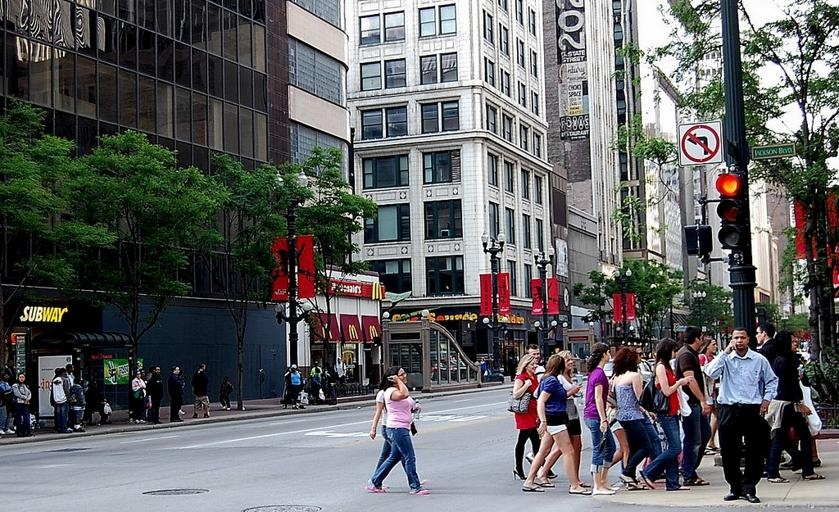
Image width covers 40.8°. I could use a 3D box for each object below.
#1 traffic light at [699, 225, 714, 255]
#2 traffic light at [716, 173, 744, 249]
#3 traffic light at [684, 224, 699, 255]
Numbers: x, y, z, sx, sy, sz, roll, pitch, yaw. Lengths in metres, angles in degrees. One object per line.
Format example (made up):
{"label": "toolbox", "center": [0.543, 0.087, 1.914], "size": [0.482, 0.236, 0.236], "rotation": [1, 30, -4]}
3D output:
{"label": "traffic light", "center": [7.996, -0.431, 31.592], "size": [0.332, 0.751, 0.730], "rotation": [-5, -10, 13]}
{"label": "traffic light", "center": [8.525, -1.174, 30.972], "size": [0.765, 2.010, 0.608], "rotation": [0, 1, 20]}
{"label": "traffic light", "center": [7.599, -0.466, 31.542], "size": [0.410, 0.826, 0.907], "rotation": [-5, -10, 13]}
